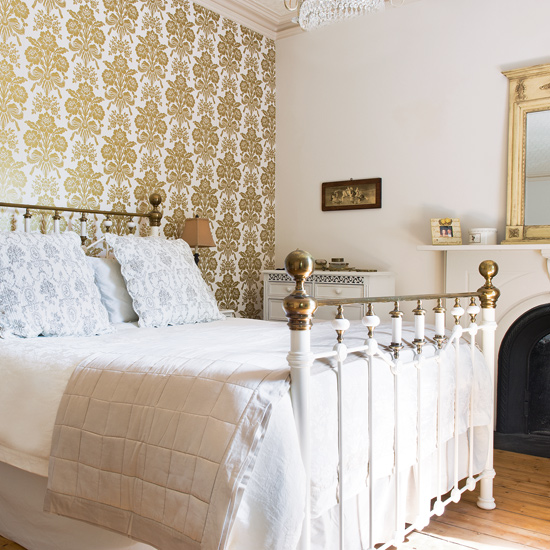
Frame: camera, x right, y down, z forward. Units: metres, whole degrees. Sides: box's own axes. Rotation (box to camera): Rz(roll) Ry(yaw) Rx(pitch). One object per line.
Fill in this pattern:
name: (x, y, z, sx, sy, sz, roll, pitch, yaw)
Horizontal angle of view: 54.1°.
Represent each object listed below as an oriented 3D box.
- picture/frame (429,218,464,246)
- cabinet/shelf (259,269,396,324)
picture/frame: (1.076, -0.268, 3.355, 0.191, 0.178, 0.026, 0, -7, 8)
cabinet/shelf: (0.332, 0.106, 2.906, 0.361, 0.294, 0.157, -2, -7, 35)
